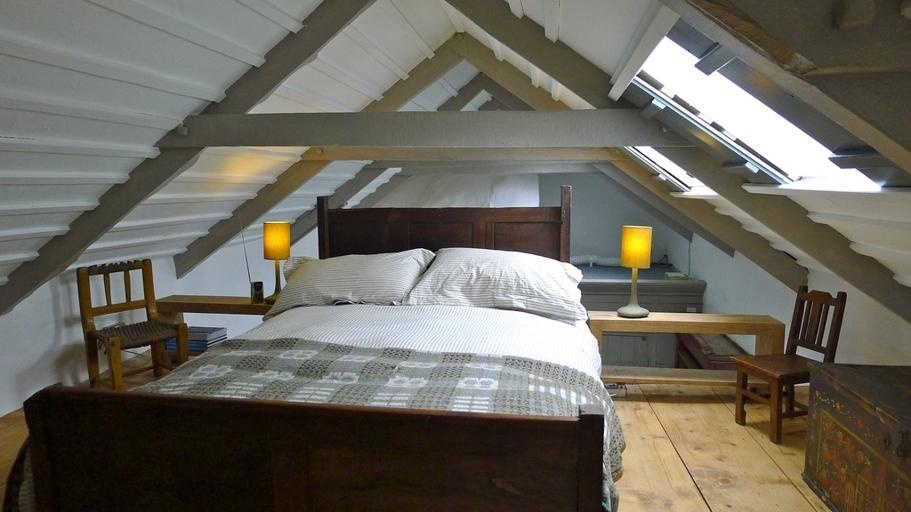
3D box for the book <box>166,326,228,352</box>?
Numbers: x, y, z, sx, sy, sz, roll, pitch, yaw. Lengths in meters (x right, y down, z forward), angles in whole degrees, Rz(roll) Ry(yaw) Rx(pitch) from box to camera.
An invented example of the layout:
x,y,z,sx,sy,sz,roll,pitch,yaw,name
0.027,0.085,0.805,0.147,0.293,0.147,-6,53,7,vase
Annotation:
x,y,z,sx,sy,sz,roll,pitch,yaw,name
-2.130,0.676,4.854,0.347,0.143,0.331,0,5,11,book
